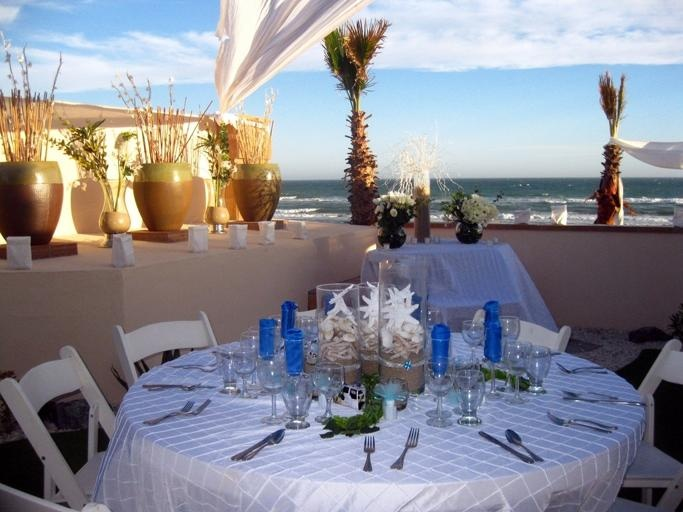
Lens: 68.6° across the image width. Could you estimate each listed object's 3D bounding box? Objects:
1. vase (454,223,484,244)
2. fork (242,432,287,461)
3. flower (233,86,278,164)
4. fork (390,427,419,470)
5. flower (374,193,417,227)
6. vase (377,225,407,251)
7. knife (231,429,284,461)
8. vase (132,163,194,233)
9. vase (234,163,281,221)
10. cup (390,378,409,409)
[{"bbox_3d":[1.204,-0.181,4.749,0.195,0.213,0.212,-1,-3,-5],"label":"vase"},{"bbox_3d":[-0.219,0.549,1.463,0.032,0.027,0.163,15,21,23],"label":"fork"},{"bbox_3d":[-0.954,-1.434,5.564,0.413,0.788,0.832,-2,13,-12],"label":"flower"},{"bbox_3d":[0.189,0.549,1.434,0.033,0.032,0.218,4,15,18],"label":"fork"},{"bbox_3d":[0.489,-0.435,4.559,0.291,0.307,0.322,-2,10,-4],"label":"flower"},{"bbox_3d":[0.456,-0.174,4.617,0.189,0.154,0.216,-1,4,-6],"label":"vase"},{"bbox_3d":[-0.238,0.552,1.447,0.043,0.033,0.218,6,10,26],"label":"knife"},{"bbox_3d":[-1.568,-0.504,4.598,0.521,0.670,0.552,0,6,-8],"label":"vase"},{"bbox_3d":[-0.919,-0.667,5.658,0.554,0.723,0.582,-1,3,-11],"label":"vase"},{"bbox_3d":[0.186,0.451,1.637,0.056,0.106,0.067,-7,21,-9],"label":"cup"}]
